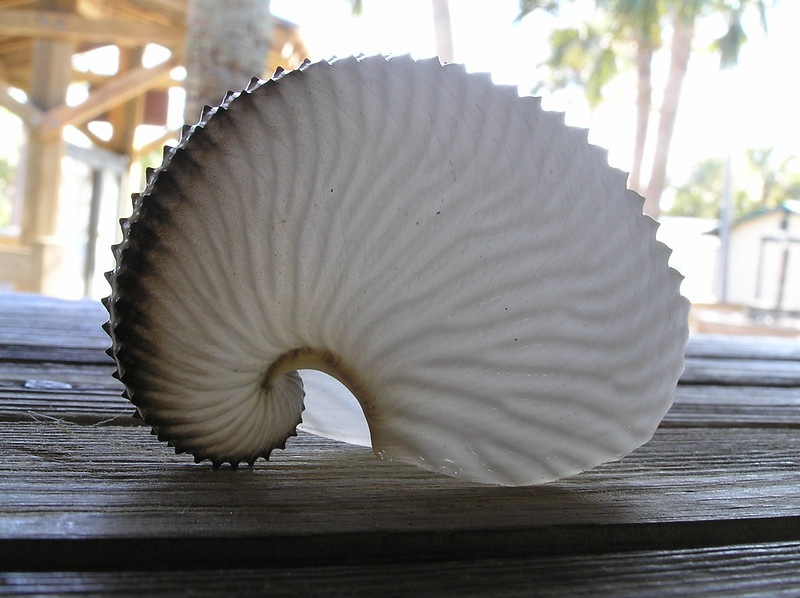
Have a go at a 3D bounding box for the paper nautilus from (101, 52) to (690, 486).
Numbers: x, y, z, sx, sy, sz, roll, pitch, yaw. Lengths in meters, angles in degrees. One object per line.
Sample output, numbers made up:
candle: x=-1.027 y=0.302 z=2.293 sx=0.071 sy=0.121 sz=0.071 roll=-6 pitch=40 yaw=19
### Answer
paper nautilus: x=0.006 y=-0.019 z=0.683 sx=0.463 sy=0.269 sz=0.088 roll=2 pitch=1 yaw=0
